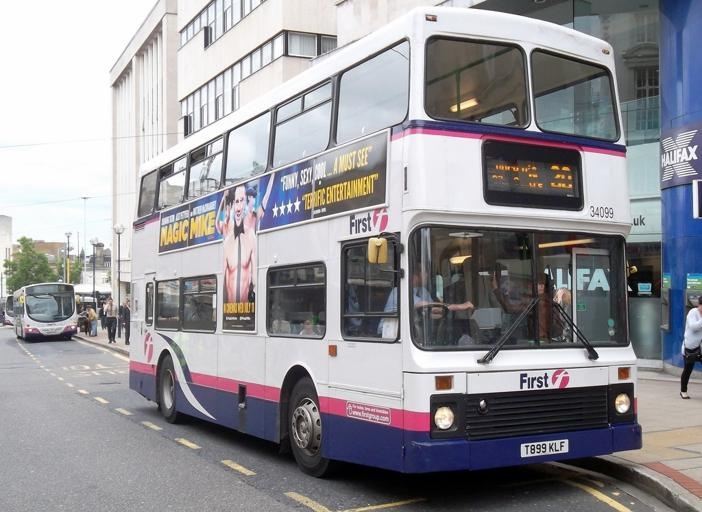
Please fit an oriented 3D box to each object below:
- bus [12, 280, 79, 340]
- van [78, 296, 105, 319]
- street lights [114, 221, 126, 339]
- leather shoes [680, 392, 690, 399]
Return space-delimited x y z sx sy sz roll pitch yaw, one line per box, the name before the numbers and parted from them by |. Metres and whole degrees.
bus | -18.380 3.380 40.096 3.185 3.471 2.851 1 -6 -23
van | -19.322 3.908 49.025 1.575 2.406 4.227 2 -4 -34
street lights | -14.299 0.927 40.704 0.726 5.672 0.765 -3 16 -29
leather shoes | 6.429 2.709 12.678 0.152 0.112 0.266 -5 -7 28
